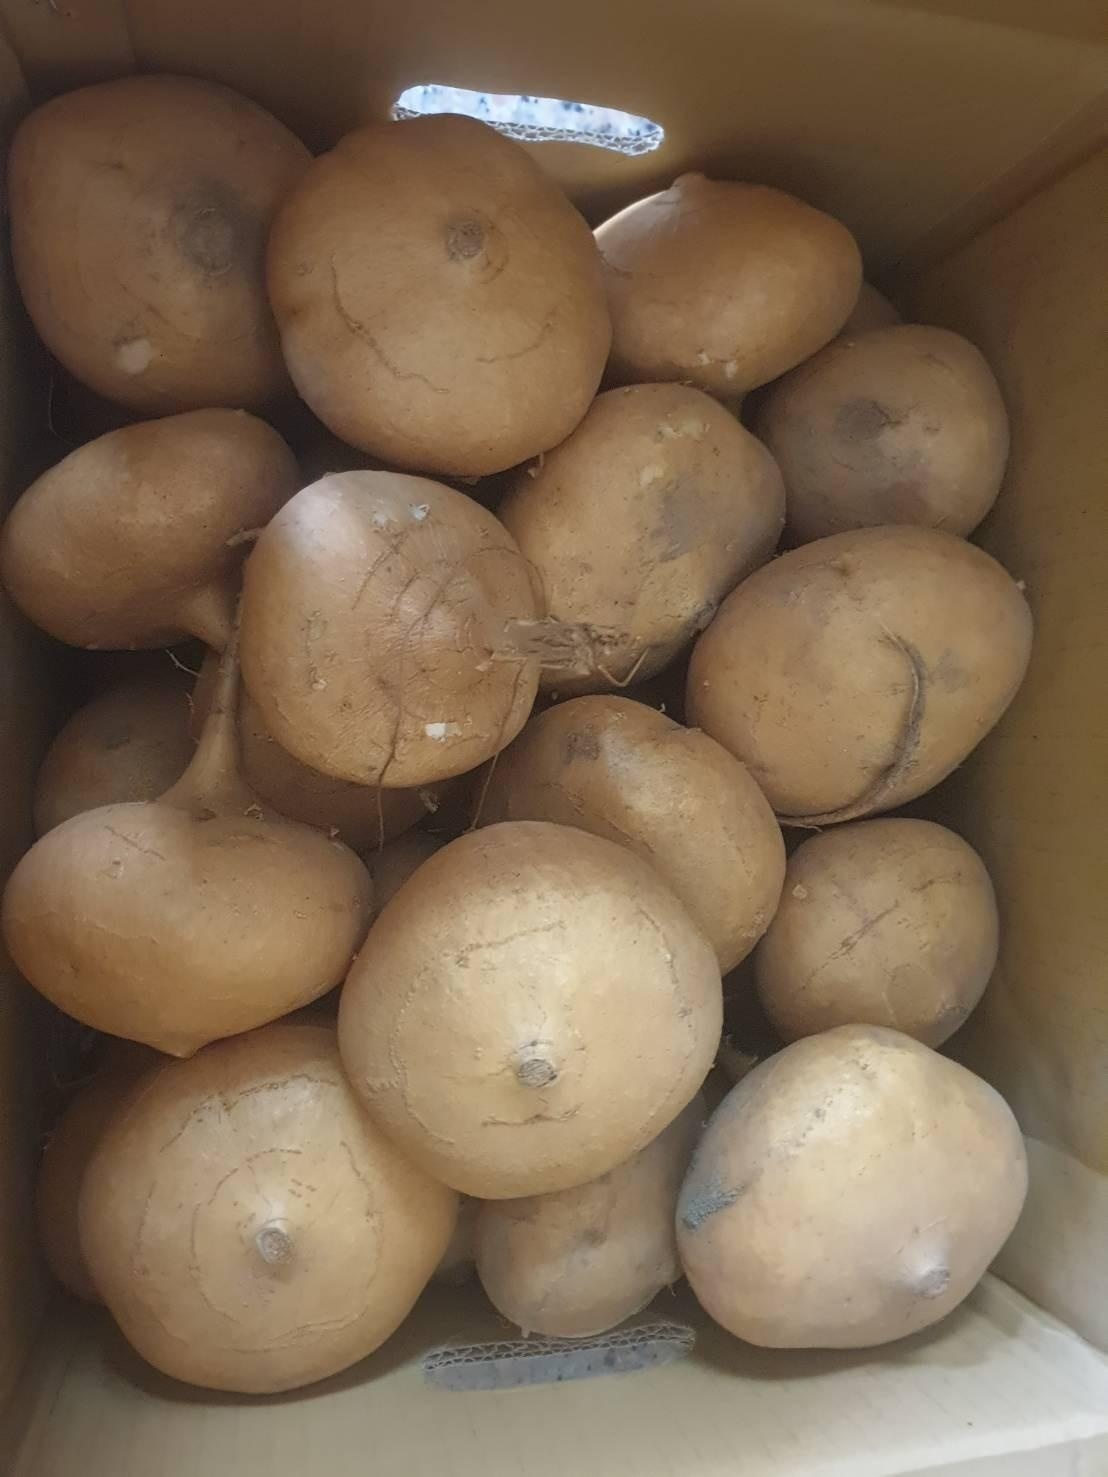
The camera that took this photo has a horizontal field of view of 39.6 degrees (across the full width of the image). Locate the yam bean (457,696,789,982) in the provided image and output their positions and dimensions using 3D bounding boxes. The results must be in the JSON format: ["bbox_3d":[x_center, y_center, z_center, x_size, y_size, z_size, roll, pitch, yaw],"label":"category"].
[{"bbox_3d":[0.061,0.053,1.033,0.195,0.105,0.186,-33,83,5],"label":"yam bean"}]

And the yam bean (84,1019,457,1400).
[{"bbox_3d":[-0.183,0.284,1.032,0.237,0.094,0.206,-19,96,3],"label":"yam bean"}]

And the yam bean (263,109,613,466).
[{"bbox_3d":[-0.075,-0.285,1.009,0.181,0.186,0.196,36,63,28],"label":"yam bean"}]

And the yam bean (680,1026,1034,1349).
[{"bbox_3d":[0.192,0.286,1.058,0.222,0.121,0.186,-39,91,-8],"label":"yam bean"}]

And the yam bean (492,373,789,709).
[{"bbox_3d":[0.044,-0.147,1.158,0.181,0.137,0.234,42,81,-16],"label":"yam bean"}]

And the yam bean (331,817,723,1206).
[{"bbox_3d":[-0.016,0.163,0.954,0.225,0.151,0.193,-36,57,-22],"label":"yam bean"}]

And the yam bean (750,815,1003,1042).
[{"bbox_3d":[0.236,0.143,1.158,0.141,0.097,0.174,45,77,5],"label":"yam bean"}]

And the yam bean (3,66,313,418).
[{"bbox_3d":[-0.254,-0.320,1.011,0.156,0.176,0.168,3,52,8],"label":"yam bean"}]

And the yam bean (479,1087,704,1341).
[{"bbox_3d":[0.006,0.325,1.059,0.112,0.080,0.140,39,68,-10],"label":"yam bean"}]

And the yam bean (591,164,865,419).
[{"bbox_3d":[0.120,-0.317,1.145,0.176,0.124,0.162,-34,80,-11],"label":"yam bean"}]

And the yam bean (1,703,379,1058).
[{"bbox_3d":[-0.223,0.105,0.953,0.210,0.117,0.131,-23,53,-14],"label":"yam bean"}]
